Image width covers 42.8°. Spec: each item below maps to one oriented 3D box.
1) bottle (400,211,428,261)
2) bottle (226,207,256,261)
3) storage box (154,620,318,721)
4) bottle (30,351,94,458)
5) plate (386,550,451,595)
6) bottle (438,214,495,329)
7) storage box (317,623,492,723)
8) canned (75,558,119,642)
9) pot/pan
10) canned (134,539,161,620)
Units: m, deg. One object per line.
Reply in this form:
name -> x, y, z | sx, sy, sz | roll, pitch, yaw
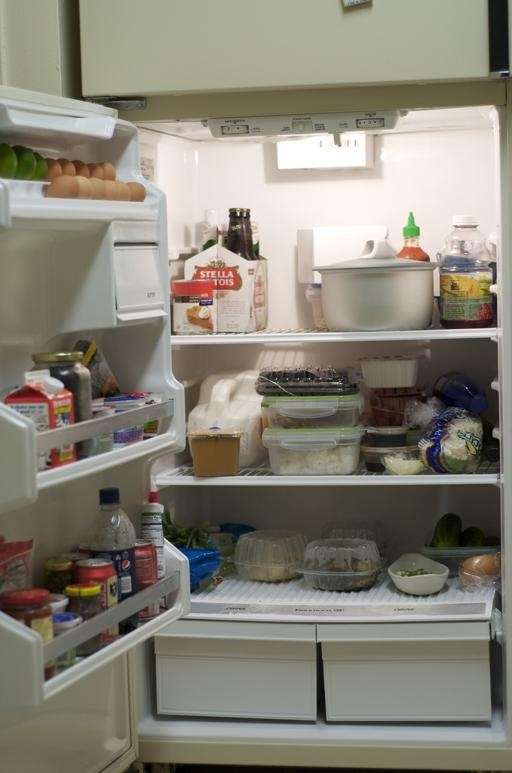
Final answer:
bottle -> 0.399, -0.369, 1.687 | 0.095, 0.148, 0.090 | -3, 16, 1
bottle -> -0.045, -0.402, 1.742 | 0.079, 0.141, 0.173 | -5, 9, -2
storage box -> -0.096, 0.707, 1.632 | 0.429, 0.208, 0.300 | 14, -27, -24
bottle -> -0.252, 0.017, 0.858 | 0.071, 0.120, 0.071 | -4, 15, 1
plate -> 0.410, 0.464, 1.655 | 0.145, 0.081, 0.240 | -2, 9, 15
bottle -> 0.502, -0.266, 1.572 | 0.174, 0.263, 0.167 | -4, 9, 1
storage box -> 0.329, 0.634, 1.460 | 0.285, 0.173, 0.289 | -2, -4, 14
canned -> -0.222, 0.302, 0.912 | 0.059, 0.101, 0.059 | -6, -8, 0
pot/pan -> 0.299, -0.247, 1.633 | 0.288, 0.237, 0.296 | -7, 7, -44
canned -> -0.177, 0.318, 1.060 | 0.038, 0.141, 0.094 | -6, 9, -10
